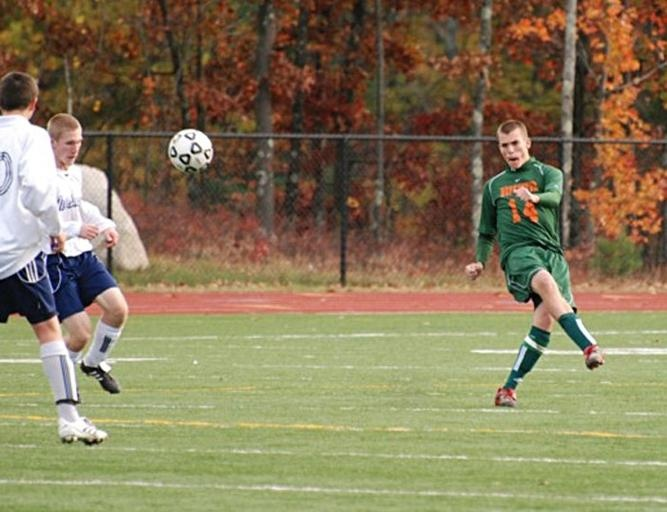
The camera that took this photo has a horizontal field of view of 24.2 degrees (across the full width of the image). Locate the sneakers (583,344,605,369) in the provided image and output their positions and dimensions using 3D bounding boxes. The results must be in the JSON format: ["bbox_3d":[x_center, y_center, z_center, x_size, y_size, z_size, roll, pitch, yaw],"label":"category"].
[{"bbox_3d":[3.078,1.173,18.136,0.262,0.258,0.312,-3,-20,-2],"label":"sneakers"}]

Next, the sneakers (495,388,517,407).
[{"bbox_3d":[2.048,1.670,18.566,0.259,0.209,0.276,1,11,6],"label":"sneakers"}]

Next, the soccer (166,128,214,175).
[{"bbox_3d":[-2.443,-1.646,24.826,0.696,0.652,0.671,25,51,9],"label":"soccer"}]
